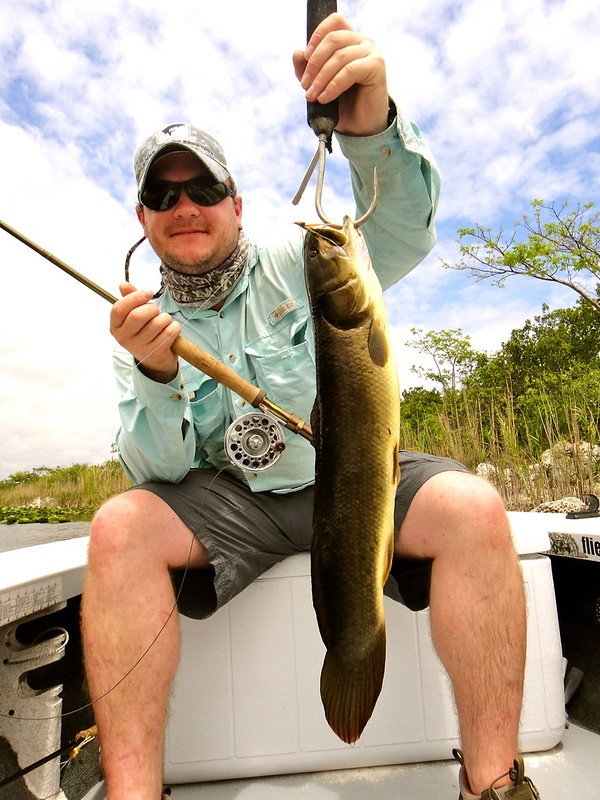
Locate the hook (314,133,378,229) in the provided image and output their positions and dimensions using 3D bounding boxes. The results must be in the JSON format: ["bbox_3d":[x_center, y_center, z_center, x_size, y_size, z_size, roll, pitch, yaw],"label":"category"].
[{"bbox_3d":[0.096,-0.479,1.236,0.137,0.018,0.272,4,-30,4],"label":"hook"}]

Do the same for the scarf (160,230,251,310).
[{"bbox_3d":[-0.318,-0.461,2.032,0.251,0.311,0.151,40,2,-6],"label":"scarf"}]

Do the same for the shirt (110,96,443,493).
[{"bbox_3d":[-0.017,-0.213,2.028,0.944,1.201,0.396,-18,-19,26],"label":"shirt"}]

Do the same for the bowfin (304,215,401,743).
[{"bbox_3d":[0.101,0.137,1.180,0.212,1.052,0.139,-3,-3,13],"label":"bowfin"}]
